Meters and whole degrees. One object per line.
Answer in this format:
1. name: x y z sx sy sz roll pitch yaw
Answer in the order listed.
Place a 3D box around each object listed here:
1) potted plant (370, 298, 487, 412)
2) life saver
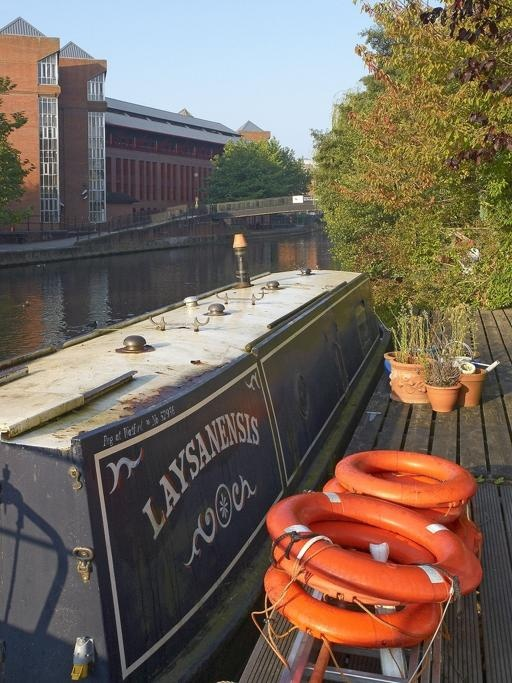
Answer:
1. potted plant: 1.848 0.103 6.348 1.033 1.142 1.603 -1 8 11
2. life saver: 0.540 0.932 2.573 0.813 0.581 1.307 -4 5 20
